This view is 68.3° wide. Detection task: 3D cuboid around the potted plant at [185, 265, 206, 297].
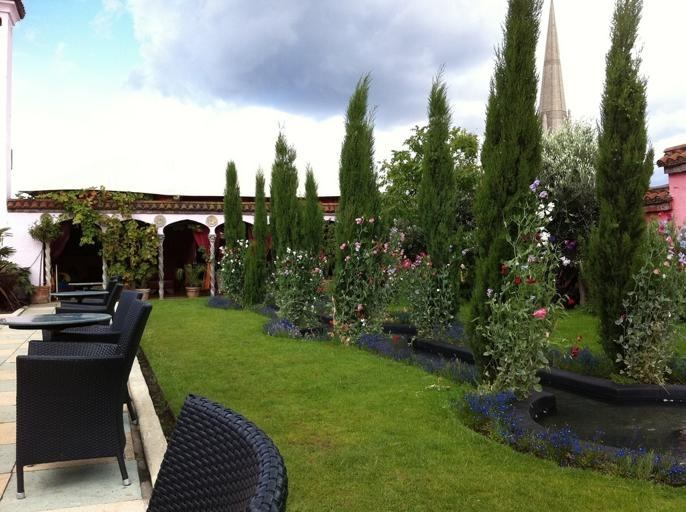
[{"bbox_3d":[-5.483,0.915,18.535,0.640,1.135,0.688,5,-11,-7],"label":"potted plant"}]
